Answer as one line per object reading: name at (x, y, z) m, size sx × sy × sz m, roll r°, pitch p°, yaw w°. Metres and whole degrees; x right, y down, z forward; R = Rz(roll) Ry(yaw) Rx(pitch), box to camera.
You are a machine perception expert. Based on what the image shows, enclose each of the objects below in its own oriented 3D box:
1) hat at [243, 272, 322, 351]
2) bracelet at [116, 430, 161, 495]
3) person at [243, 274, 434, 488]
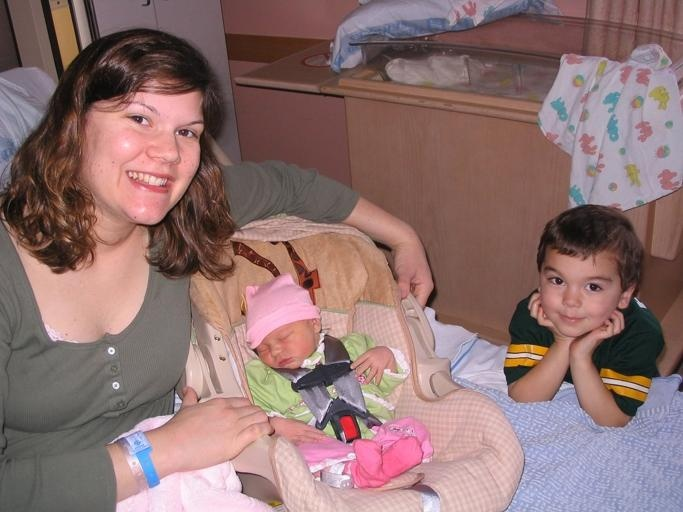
hat at (-0.206, 0.167, 1.657) m, size 0.174 × 0.231 × 0.215 m, roll -4°, pitch 52°, yaw -43°
bracelet at (-0.431, 0.438, 1.122) m, size 0.060 × 0.106 × 0.087 m, roll -19°, pitch 29°, yaw -31°
person at (-0.048, 0.355, 1.523) m, size 0.419 × 0.265 × 0.721 m, roll -11°, pitch 41°, yaw -21°
